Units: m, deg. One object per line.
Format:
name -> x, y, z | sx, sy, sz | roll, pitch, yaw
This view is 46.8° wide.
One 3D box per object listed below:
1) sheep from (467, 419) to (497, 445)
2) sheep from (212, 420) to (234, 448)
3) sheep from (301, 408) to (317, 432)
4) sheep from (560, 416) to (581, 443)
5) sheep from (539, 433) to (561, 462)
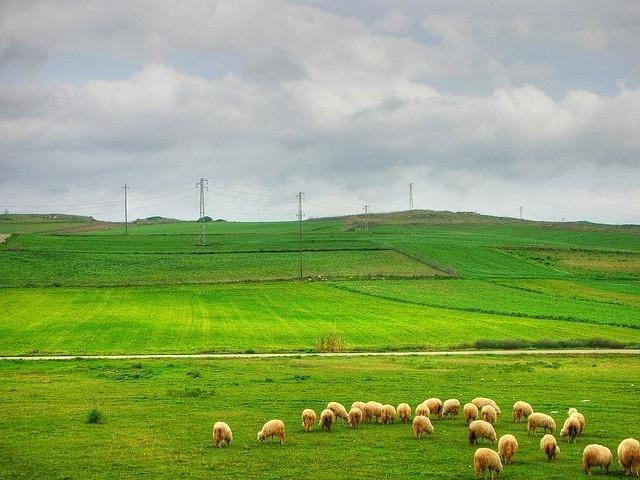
sheep -> 12.142, 14.215, 54.791 | 2.021, 1.809, 1.634 | 0, -2, -27
sheep -> -7.253, 14.181, 54.445 | 1.454, 1.675, 0.959 | -1, -1, -9
sheep -> -0.871, 13.816, 57.371 | 1.029, 1.564, 1.820 | -1, -2, -1
sheep -> 19.013, 14.009, 55.131 | 1.558, 1.744, 0.819 | -1, -1, -6
sheep -> 16.653, 14.719, 52.843 | 1.377, 1.630, 1.077 | -2, -1, 8
